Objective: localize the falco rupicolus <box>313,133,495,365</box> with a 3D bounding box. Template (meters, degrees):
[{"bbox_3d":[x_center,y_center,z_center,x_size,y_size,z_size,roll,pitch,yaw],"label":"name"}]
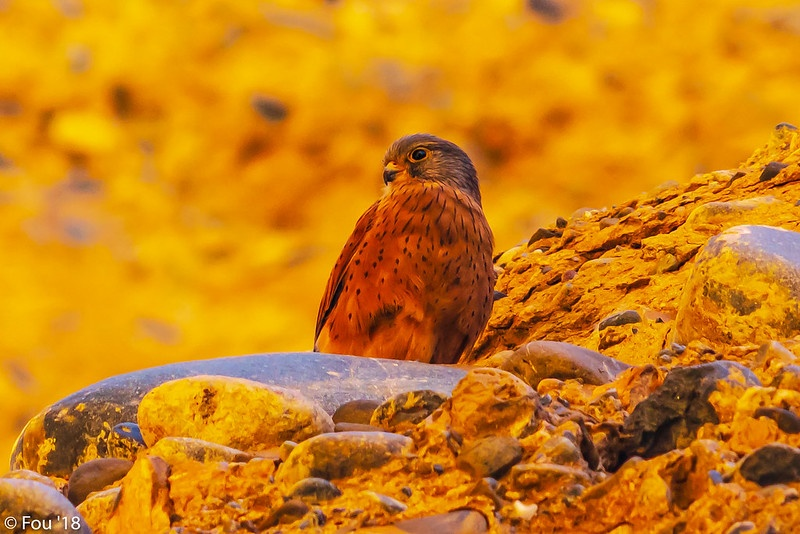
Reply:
[{"bbox_3d":[0.093,0.115,14.333,1.404,2.187,2.283,11,-15,-13],"label":"falco rupicolus"}]
